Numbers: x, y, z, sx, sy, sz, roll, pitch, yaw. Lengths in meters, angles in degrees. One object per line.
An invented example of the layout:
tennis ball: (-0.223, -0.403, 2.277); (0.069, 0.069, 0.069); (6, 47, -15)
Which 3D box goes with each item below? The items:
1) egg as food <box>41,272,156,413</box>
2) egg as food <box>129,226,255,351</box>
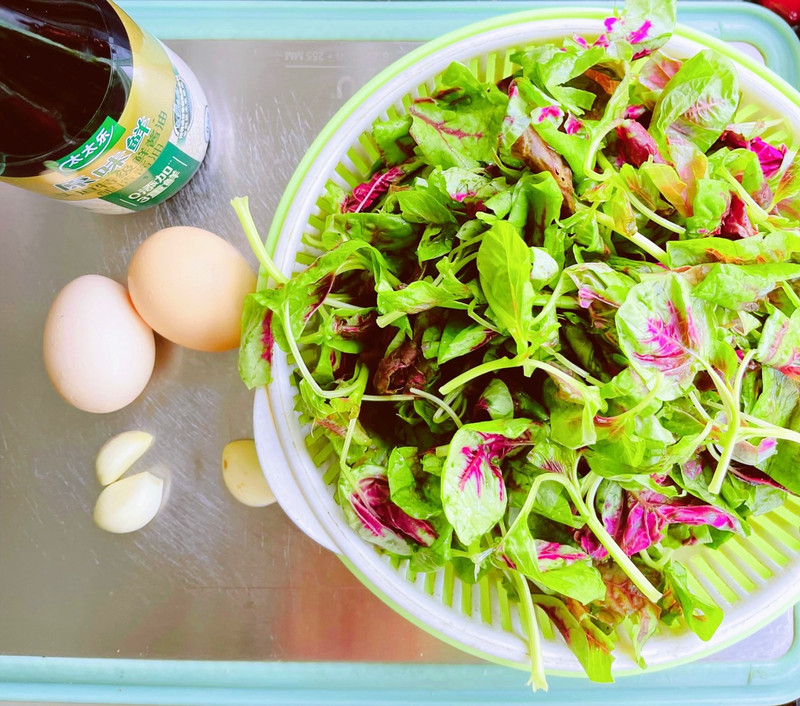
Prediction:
egg as food: (-0.276, -0.006, 0.693); (0.090, 0.094, 0.130); (2, -84, -7)
egg as food: (-0.187, -0.060, 0.700); (0.134, 0.109, 0.115); (5, -90, -1)
